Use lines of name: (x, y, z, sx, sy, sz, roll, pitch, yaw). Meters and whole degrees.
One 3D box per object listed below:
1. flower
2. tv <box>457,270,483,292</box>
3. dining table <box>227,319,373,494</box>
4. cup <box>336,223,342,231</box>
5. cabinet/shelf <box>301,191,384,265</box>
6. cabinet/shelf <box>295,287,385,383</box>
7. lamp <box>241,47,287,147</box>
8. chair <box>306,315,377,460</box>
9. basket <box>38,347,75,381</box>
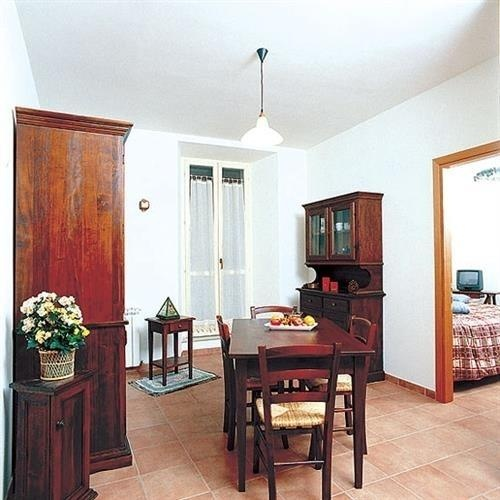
flower: (-1.066, 0.384, 2.398, 0.316, 0.343, 0.267, -2, 0, -37)
tv: (3.348, 0.467, 6.857, 0.412, 0.424, 0.300, -4, -10, 43)
dining table: (0.279, 1.042, 2.858, 0.698, 0.815, 1.586, 0, -1, -8)
cup: (0.933, -0.249, 4.657, 0.048, 0.086, 0.089, 0, 0, -18)
cabinet/shelf: (0.966, -0.190, 4.841, 0.322, 0.734, 0.925, 0, -2, -30)
cabinet/shelf: (0.959, 0.879, 4.823, 0.404, 0.951, 0.972, -7, 4, -27)
lamp: (0.087, -1.086, 3.145, 0.332, 0.629, 0.337, -2, 10, -11)
chair: (0.559, 0.936, 3.127, 0.552, 0.904, 0.574, 5, -5, -13)
basket: (-1.052, 0.604, 2.412, 0.175, 0.141, 0.184, -4, -5, 36)
